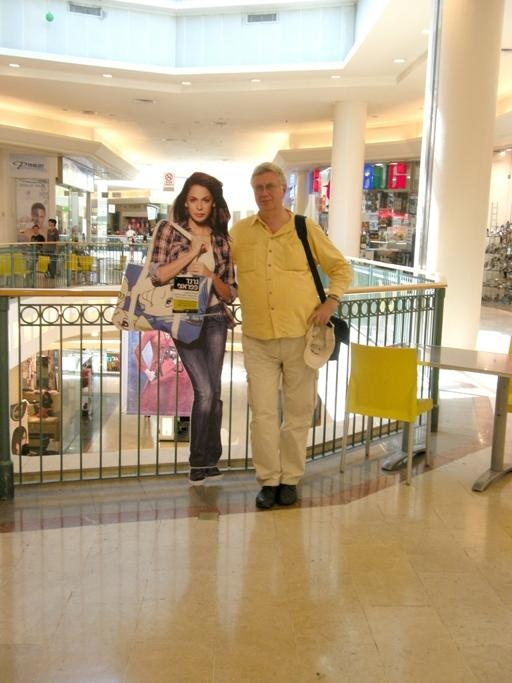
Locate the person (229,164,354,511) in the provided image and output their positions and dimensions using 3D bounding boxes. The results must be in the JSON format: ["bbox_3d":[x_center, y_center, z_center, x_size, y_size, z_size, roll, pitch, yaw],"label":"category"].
[{"bbox_3d":[0.165,-0.003,2.844,0.595,1.744,0.331,0,3,-3],"label":"person"}]

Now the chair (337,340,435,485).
[{"bbox_3d":[0.824,0.402,3.432,0.528,0.730,0.546,0,3,-37],"label":"chair"}]

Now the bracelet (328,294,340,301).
[{"bbox_3d":[0.389,-0.221,2.750,0.045,0.029,0.044,9,19,-18],"label":"bracelet"}]

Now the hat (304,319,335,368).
[{"bbox_3d":[0.306,0.032,2.758,0.134,0.246,0.193,3,4,39],"label":"hat"}]

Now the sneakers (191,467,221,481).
[{"bbox_3d":[-0.293,0.751,3.264,0.193,0.089,0.065,-4,7,-22],"label":"sneakers"}]

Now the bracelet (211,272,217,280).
[{"bbox_3d":[-0.215,-0.336,2.809,0.041,0.036,0.010,0,6,-23],"label":"bracelet"}]
